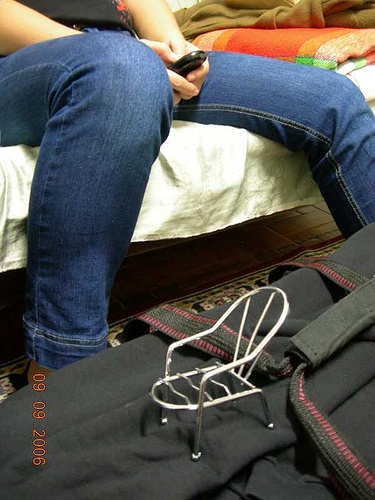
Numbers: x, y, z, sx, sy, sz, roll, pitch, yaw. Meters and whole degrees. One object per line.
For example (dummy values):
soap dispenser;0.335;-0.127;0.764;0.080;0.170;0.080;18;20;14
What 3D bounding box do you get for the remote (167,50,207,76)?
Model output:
remote;0.002;-0.293;0.667;0.036;0.015;0.058;-13;3;-33
